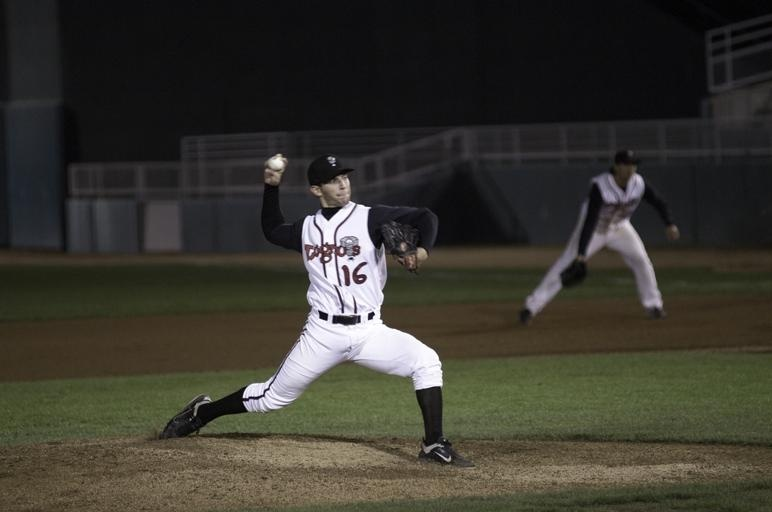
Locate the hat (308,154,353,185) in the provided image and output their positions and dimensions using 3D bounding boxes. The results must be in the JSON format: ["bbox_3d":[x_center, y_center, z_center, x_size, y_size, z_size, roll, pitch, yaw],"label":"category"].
[{"bbox_3d":[-0.657,-0.905,13.426,0.407,0.233,0.305,-20,6,39],"label":"hat"}]

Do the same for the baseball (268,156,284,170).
[{"bbox_3d":[-1.199,-0.983,13.530,0.155,0.149,0.091,4,-3,-1],"label":"baseball"}]

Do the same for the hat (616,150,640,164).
[{"bbox_3d":[3.009,-1.234,15.775,0.262,0.141,0.162,-4,18,4],"label":"hat"}]

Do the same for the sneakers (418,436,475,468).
[{"bbox_3d":[0.594,2.123,13.488,0.701,0.288,0.231,6,5,8],"label":"sneakers"}]

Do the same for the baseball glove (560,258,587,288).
[{"bbox_3d":[2.407,0.227,16.171,0.237,0.155,0.404,-1,-16,-24],"label":"baseball glove"}]
